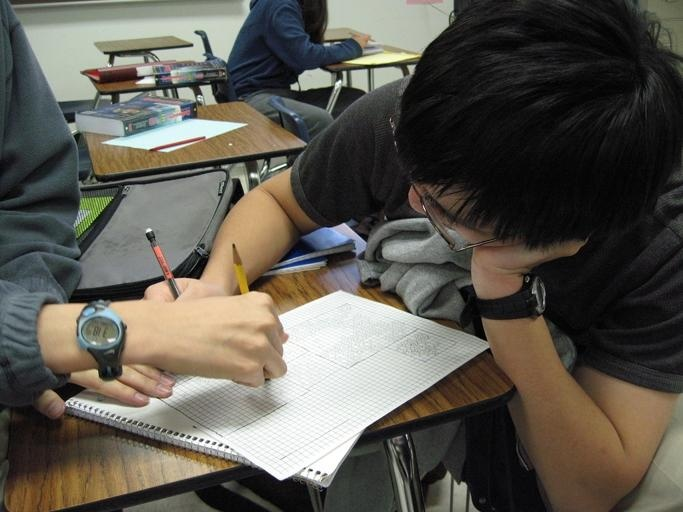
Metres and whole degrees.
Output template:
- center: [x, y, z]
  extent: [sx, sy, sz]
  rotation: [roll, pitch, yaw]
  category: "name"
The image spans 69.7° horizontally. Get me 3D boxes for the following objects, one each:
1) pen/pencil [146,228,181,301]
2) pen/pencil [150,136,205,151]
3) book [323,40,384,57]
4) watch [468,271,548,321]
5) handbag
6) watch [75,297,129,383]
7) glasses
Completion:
- center: [-0.333, 0.021, 0.913]
  extent: [0.017, 0.142, 0.017]
  rotation: [-24, -6, 7]
  category: "pen/pencil"
- center: [-0.563, -0.381, 1.682]
  extent: [0.221, 0.020, 0.022]
  rotation: [-20, 22, -40]
  category: "pen/pencil"
- center: [0.159, -1.583, 3.759]
  extent: [0.348, 0.069, 0.316]
  rotation: [-11, 28, -18]
  category: "book"
- center: [0.268, 0.077, 0.810]
  extent: [0.113, 0.058, 0.107]
  rotation: [-7, 3, 15]
  category: "watch"
- center: [-0.354, -0.023, 1.086]
  extent: [0.327, 0.087, 0.293]
  rotation: [-11, 34, -8]
  category: "handbag"
- center: [-0.334, 0.121, 0.696]
  extent: [0.069, 0.098, 0.101]
  rotation: [-11, 61, -25]
  category: "watch"
- center: [0.209, -0.094, 0.728]
  extent: [0.196, 0.060, 0.212]
  rotation: [50, 26, 12]
  category: "glasses"
